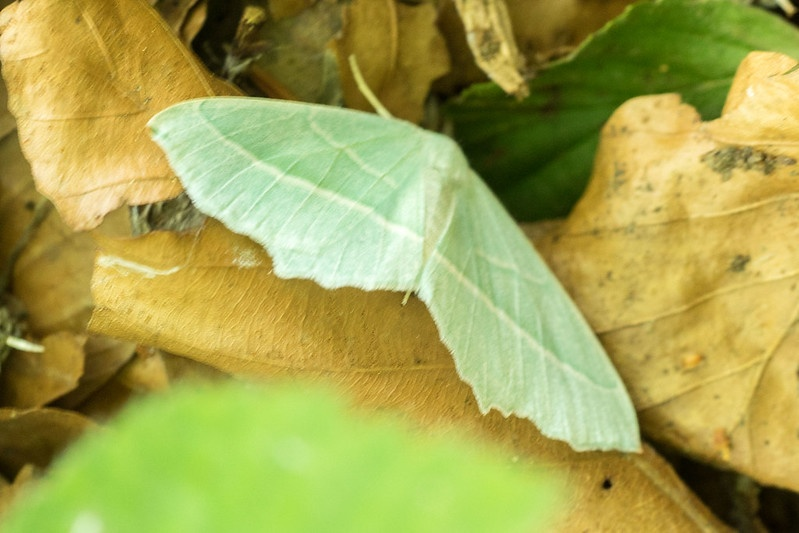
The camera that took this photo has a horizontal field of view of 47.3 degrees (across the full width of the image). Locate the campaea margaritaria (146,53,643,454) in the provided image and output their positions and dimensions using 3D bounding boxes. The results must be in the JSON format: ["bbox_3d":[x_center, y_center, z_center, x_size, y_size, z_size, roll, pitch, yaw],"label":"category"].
[{"bbox_3d":[0.019,0.012,1.961,0.700,0.774,1.021,-2,55,1],"label":"campaea margaritaria"}]
